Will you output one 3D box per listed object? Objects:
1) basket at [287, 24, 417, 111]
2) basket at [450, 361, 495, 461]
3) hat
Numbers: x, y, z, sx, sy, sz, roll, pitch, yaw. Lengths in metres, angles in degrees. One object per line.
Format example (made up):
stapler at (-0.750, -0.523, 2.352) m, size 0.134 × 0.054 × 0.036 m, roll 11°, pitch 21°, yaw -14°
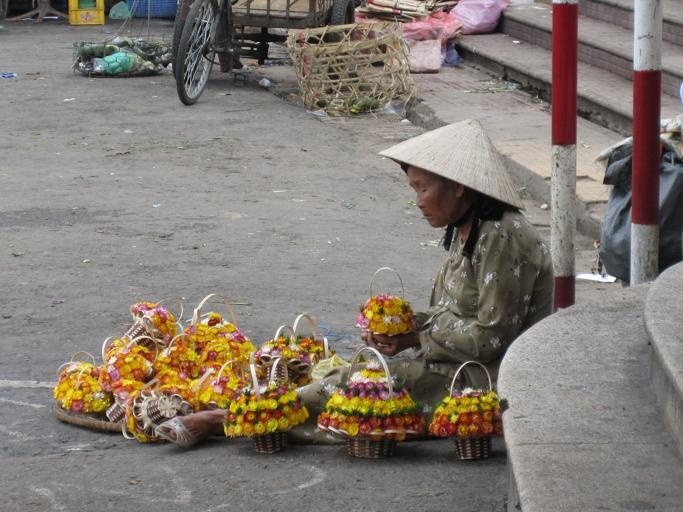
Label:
basket at (0.021, -2.145, 10.391) m, size 1.497 × 0.794 × 1.403 m, roll -14°, pitch 11°, yaw -14°
basket at (0.492, 0.562, 3.340) m, size 0.182 × 0.314 × 0.314 m, roll 7°, pitch 19°, yaw 7°
hat at (0.463, -0.360, 3.448) m, size 0.487 × 0.159 × 0.431 m, roll 21°, pitch 0°, yaw 11°
